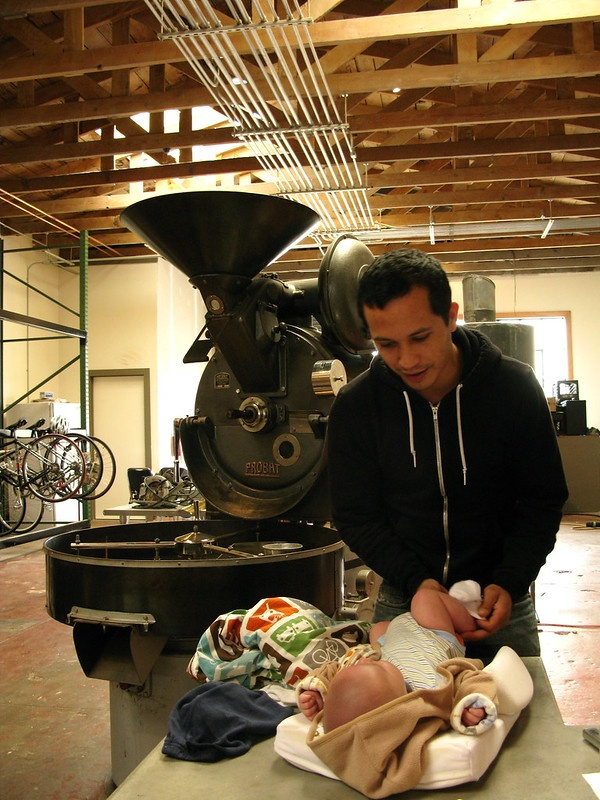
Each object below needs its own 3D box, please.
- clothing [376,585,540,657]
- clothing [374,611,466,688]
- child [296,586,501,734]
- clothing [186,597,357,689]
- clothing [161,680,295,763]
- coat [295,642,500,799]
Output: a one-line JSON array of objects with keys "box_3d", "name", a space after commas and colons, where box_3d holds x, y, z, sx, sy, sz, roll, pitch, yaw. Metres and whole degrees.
[{"box_3d": [0.393, 0.509, 1.663, 0.314, 0.110, 0.221, 0, -9, 5], "name": "clothing"}, {"box_3d": [0.204, 0.448, 1.141, 0.091, 0.123, 0.215, 12, -42, -4], "name": "clothing"}, {"box_3d": [0.187, 0.440, 1.126, 0.324, 0.113, 0.359, -3, 9, 34], "name": "child"}, {"box_3d": [-0.123, 0.588, 1.741, 0.319, 0.114, 0.374, -4, 6, 9], "name": "clothing"}, {"box_3d": [-0.147, 0.539, 1.204, 0.156, 0.041, 0.192, 0, -3, 27], "name": "clothing"}, {"box_3d": [0.147, 0.479, 1.020, 0.309, 0.145, 0.270, -2, -4, 3], "name": "coat"}]
